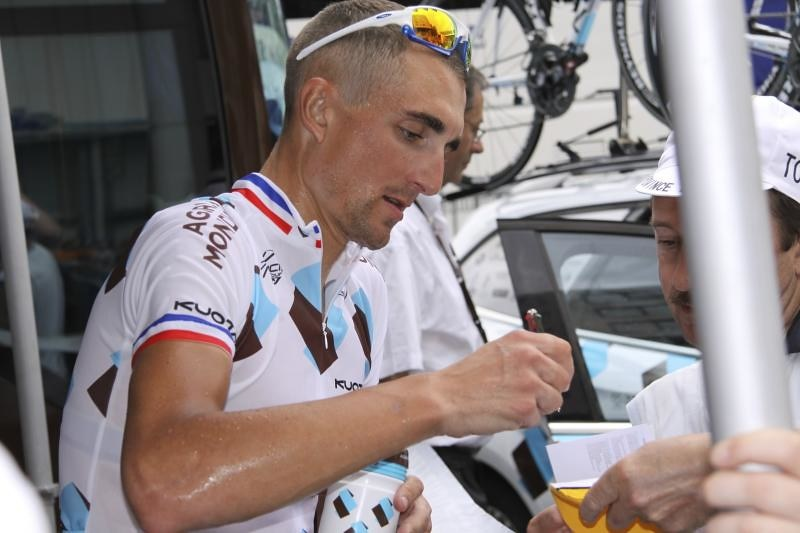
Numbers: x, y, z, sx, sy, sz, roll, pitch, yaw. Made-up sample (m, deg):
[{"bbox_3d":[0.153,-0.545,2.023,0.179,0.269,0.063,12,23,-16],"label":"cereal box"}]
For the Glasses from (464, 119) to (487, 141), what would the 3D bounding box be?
[{"bbox_3d":[0.364,-0.664,4.334,0.035,0.127,0.111,1,-2,24],"label":"Glasses"}]
